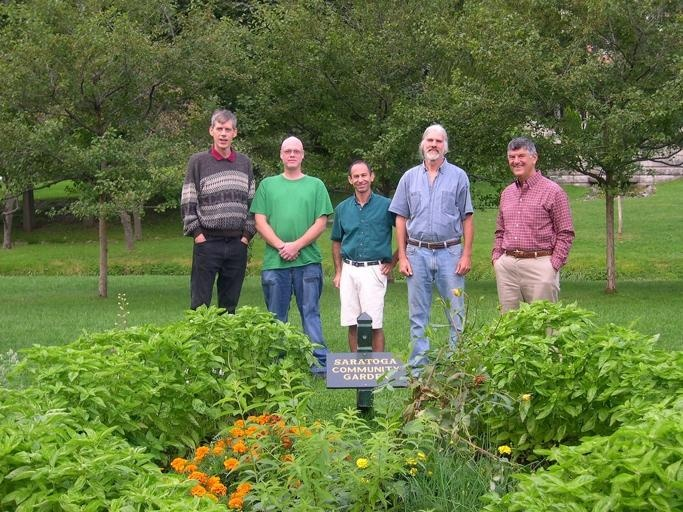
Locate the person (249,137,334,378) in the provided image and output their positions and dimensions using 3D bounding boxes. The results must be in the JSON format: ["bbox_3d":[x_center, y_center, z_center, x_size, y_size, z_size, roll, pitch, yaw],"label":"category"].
[{"bbox_3d":[-0.672,-0.204,14.442,1.056,2.838,0.332,-2,2,-5],"label":"person"}]

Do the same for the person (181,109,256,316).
[{"bbox_3d":[-1.660,-0.597,14.338,1.008,2.815,0.469,-3,3,-30],"label":"person"}]

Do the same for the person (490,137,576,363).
[{"bbox_3d":[2.575,-0.418,14.101,1.084,2.378,0.527,-1,2,9],"label":"person"}]
